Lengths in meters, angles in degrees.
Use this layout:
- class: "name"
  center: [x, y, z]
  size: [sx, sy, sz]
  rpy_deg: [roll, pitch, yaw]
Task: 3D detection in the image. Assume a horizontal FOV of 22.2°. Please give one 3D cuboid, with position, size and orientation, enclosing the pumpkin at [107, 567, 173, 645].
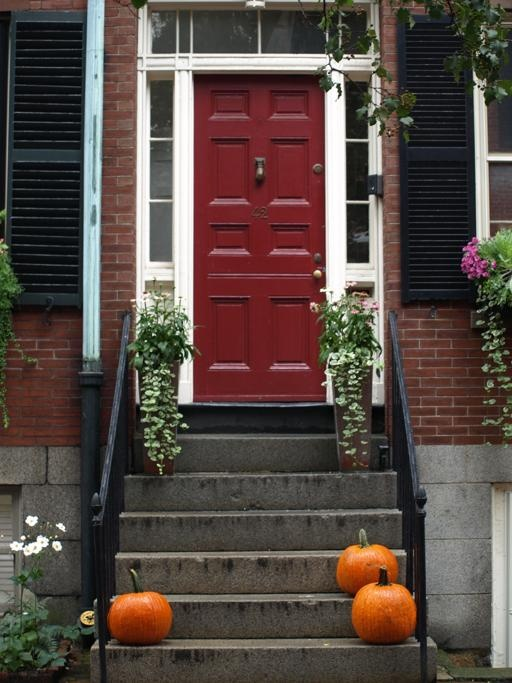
- class: "pumpkin"
  center: [-0.617, 1.365, 6.806]
  size: [0.337, 0.518, 0.356]
  rpy_deg: [-4, -4, -11]

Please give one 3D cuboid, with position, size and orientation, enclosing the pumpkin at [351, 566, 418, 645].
- class: "pumpkin"
  center: [0.658, 1.341, 6.760]
  size: [0.346, 0.446, 0.357]
  rpy_deg: [0, -4, -10]

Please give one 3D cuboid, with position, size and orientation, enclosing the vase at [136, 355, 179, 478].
- class: "vase"
  center: [-0.550, 0.450, 7.483]
  size: [0.233, 0.643, 0.234]
  rpy_deg: [0, -4, -5]

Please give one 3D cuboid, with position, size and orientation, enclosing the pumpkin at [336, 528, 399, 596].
- class: "pumpkin"
  center: [0.593, 1.160, 7.031]
  size: [0.311, 0.367, 0.328]
  rpy_deg: [-3, 0, 28]

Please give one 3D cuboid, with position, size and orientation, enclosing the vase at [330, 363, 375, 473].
- class: "vase"
  center: [0.570, 0.461, 7.565]
  size: [0.240, 0.597, 0.207]
  rpy_deg: [1, -4, -10]
